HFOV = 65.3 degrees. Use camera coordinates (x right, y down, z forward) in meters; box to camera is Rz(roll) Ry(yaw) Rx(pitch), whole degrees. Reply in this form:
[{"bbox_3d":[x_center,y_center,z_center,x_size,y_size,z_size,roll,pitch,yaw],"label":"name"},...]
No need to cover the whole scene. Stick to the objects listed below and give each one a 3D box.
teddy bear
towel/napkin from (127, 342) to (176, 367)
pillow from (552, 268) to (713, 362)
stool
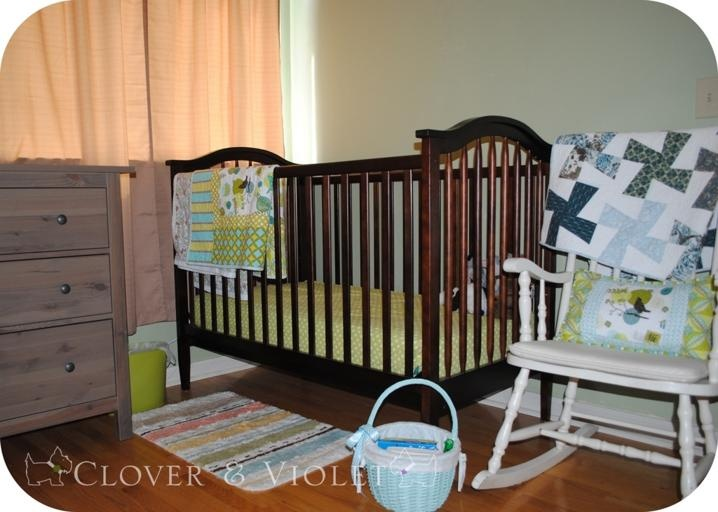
[{"bbox_3d":[0.589,0.135,2.575,0.147,0.276,0.535,4,11,18],"label":"teddy bear"},{"bbox_3d":[-1.130,0.532,3.136,0.158,0.074,0.205,0,-3,10],"label":"towel/napkin"},{"bbox_3d":[1.137,0.229,2.222,0.503,0.349,0.134,2,-23,37],"label":"pillow"},{"bbox_3d":[-1.086,0.619,2.888,0.308,0.400,0.289,-1,1,-34],"label":"stool"}]
